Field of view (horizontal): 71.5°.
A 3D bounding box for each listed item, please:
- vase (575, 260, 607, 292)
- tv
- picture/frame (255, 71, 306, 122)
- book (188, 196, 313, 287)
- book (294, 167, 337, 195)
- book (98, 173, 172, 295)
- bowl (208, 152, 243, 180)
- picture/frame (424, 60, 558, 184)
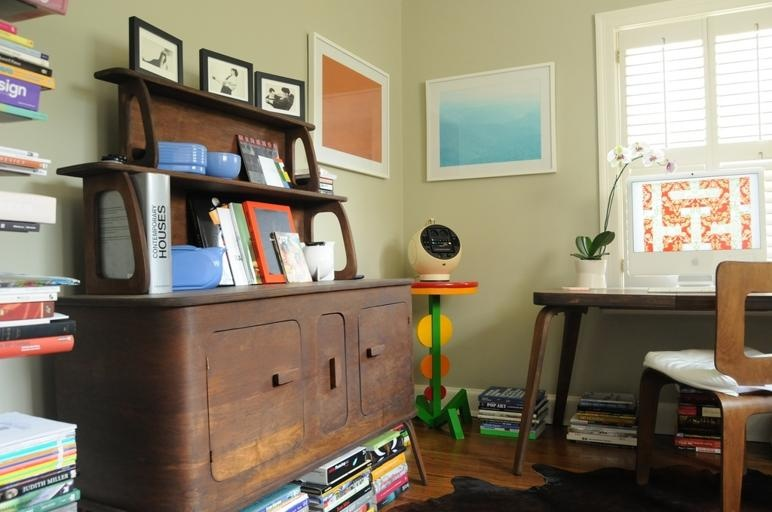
[{"bbox_3d":[1.201,0.110,3.143,0.181,0.162,0.165,-1,-3,8],"label":"vase"},{"bbox_3d":[1.684,-0.149,2.886,0.686,0.573,0.136,-2,-7,18],"label":"tv"},{"bbox_3d":[-0.507,-0.774,2.638,0.319,0.220,0.018,19,37,25],"label":"picture/frame"},{"bbox_3d":[-0.600,-0.054,2.302,0.043,0.271,0.406,-22,-20,32],"label":"book"},{"bbox_3d":[-0.357,-0.372,2.661,0.154,0.050,0.156,4,1,-37],"label":"book"},{"bbox_3d":[-0.898,-0.080,1.891,0.258,0.420,0.188,-2,3,-15],"label":"book"},{"bbox_3d":[-0.673,-0.374,2.234,0.132,0.081,0.127,-2,-5,0],"label":"bowl"},{"bbox_3d":[0.757,-0.915,3.683,0.978,0.743,0.033,-1,-1,25],"label":"picture/frame"}]
